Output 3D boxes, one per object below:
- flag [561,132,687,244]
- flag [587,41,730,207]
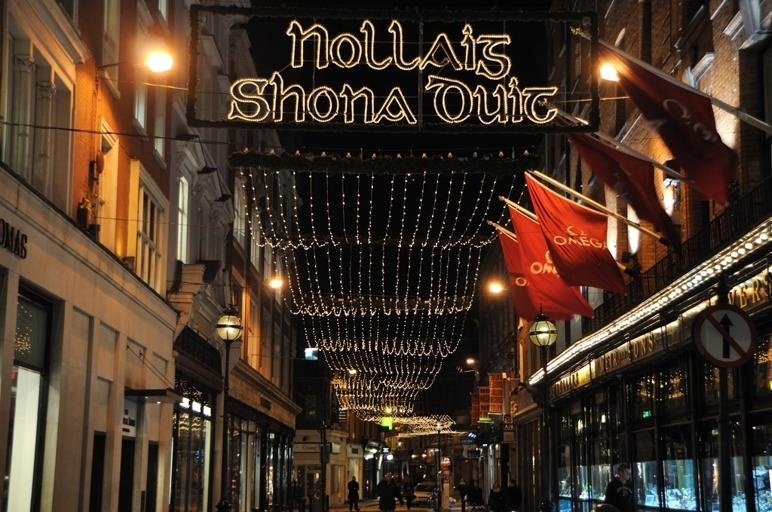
[{"bbox_3d":[6.277,-1.707,33.194,0.456,3.790,1.539,-3,-47,-39],"label":"flag"},{"bbox_3d":[6.388,-3.117,28.666,1.297,4.640,1.385,-49,-21,25],"label":"flag"}]
